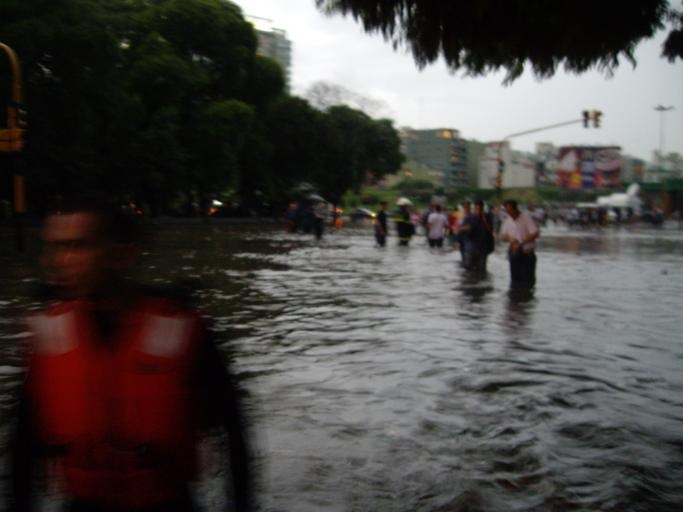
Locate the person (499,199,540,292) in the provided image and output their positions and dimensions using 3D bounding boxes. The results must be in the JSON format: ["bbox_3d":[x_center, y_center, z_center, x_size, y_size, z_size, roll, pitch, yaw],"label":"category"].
[{"bbox_3d":[3.088,-0.073,12.575,0.595,1.767,0.544,10,24,42],"label":"person"}]
